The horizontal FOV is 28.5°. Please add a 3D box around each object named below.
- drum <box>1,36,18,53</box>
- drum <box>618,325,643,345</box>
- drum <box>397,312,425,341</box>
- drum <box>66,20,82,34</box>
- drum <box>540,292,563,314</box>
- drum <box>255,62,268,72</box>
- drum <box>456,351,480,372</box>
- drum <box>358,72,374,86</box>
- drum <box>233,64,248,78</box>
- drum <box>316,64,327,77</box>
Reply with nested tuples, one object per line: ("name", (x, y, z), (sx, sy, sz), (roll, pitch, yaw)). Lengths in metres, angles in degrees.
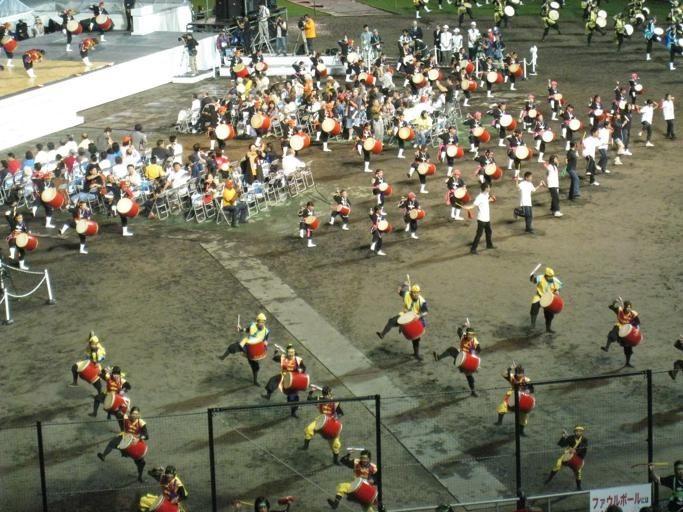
("drum", (-14.032, -9.026, 56.935), (0.632, 0.560, 0.501), (-22, -18, -5))
("drum", (8.062, 2.193, 37.303), (0.495, 0.463, 0.654), (26, 1, -44))
("drum", (1.989, 1.955, 37.805), (0.618, 0.575, 0.579), (32, -19, 46))
("drum", (-11.807, -10.192, 59.487), (0.746, 0.639, 0.627), (-15, 3, -8))
("drum", (6.019, 1.325, 38.491), (0.617, 0.555, 0.611), (6, -5, 42))
("drum", (-3.486, -8.317, 59.086), (0.577, 0.491, 0.391), (-10, -8, 4))
("drum", (3.476, 2.878, 36.508), (0.655, 0.537, 0.579), (12, -16, -25))
("drum", (1.001, -7.422, 56.080), (0.639, 0.591, 0.317), (21, -21, 23))
("drum", (-4.388, -8.128, 58.929), (0.666, 0.596, 0.479), (-24, -13, -4))
("drum", (-0.865, -8.255, 59.621), (0.452, 0.381, 0.377), (-4, -9, 2))
